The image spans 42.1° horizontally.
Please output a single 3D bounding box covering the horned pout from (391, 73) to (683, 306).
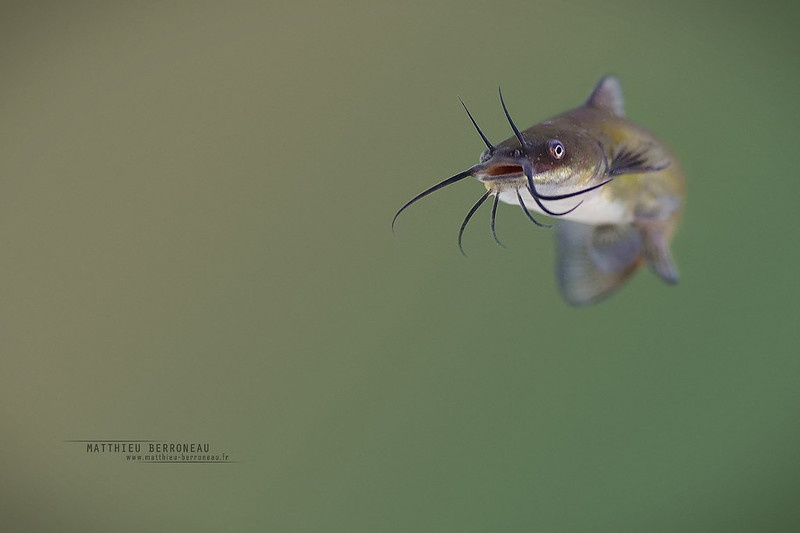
[{"bbox_3d":[0.376,-0.174,2.290,0.331,0.499,0.570,-22,-14,33],"label":"horned pout"}]
